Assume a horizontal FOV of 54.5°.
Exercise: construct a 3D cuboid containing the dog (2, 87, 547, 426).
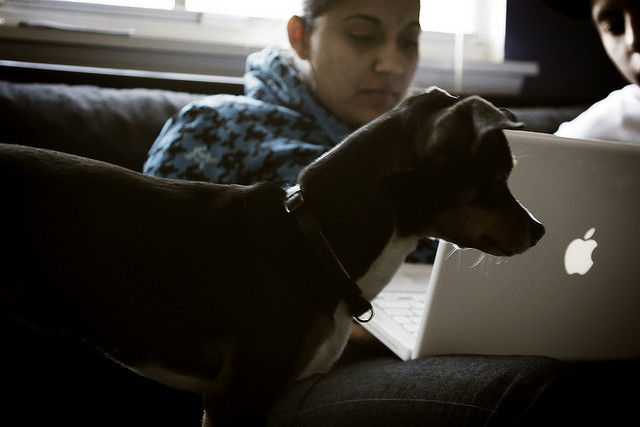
[{"bbox_3d":[-0.106,0.060,1.262,1.083,0.605,0.353,-4,22,-13],"label":"dog"}]
